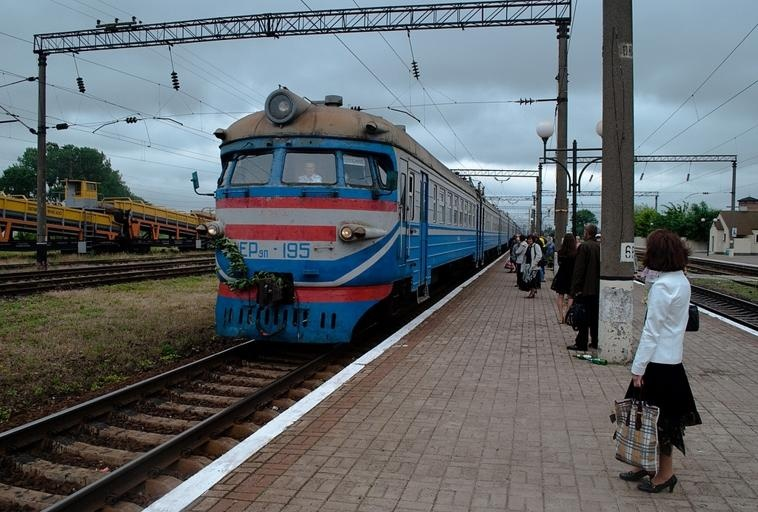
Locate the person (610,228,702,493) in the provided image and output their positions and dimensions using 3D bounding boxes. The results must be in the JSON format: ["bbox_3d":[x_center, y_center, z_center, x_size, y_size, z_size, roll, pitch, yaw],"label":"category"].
[{"bbox_3d":[2.768,0.998,5.465,0.694,2.491,0.569,-6,8,-41],"label":"person"}]

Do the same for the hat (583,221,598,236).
[{"bbox_3d":[3.790,-0.497,10.124,0.202,0.241,0.252,2,18,9],"label":"hat"}]

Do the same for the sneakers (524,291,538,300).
[{"bbox_3d":[4.604,1.142,16.827,0.205,0.282,0.682,-5,-8,39],"label":"sneakers"}]

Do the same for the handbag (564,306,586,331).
[{"bbox_3d":[3.437,1.071,9.952,0.347,0.571,0.569,4,-7,2],"label":"handbag"}]

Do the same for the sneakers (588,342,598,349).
[{"bbox_3d":[3.839,1.589,10.089,0.085,0.139,0.480,-2,-8,19],"label":"sneakers"}]
